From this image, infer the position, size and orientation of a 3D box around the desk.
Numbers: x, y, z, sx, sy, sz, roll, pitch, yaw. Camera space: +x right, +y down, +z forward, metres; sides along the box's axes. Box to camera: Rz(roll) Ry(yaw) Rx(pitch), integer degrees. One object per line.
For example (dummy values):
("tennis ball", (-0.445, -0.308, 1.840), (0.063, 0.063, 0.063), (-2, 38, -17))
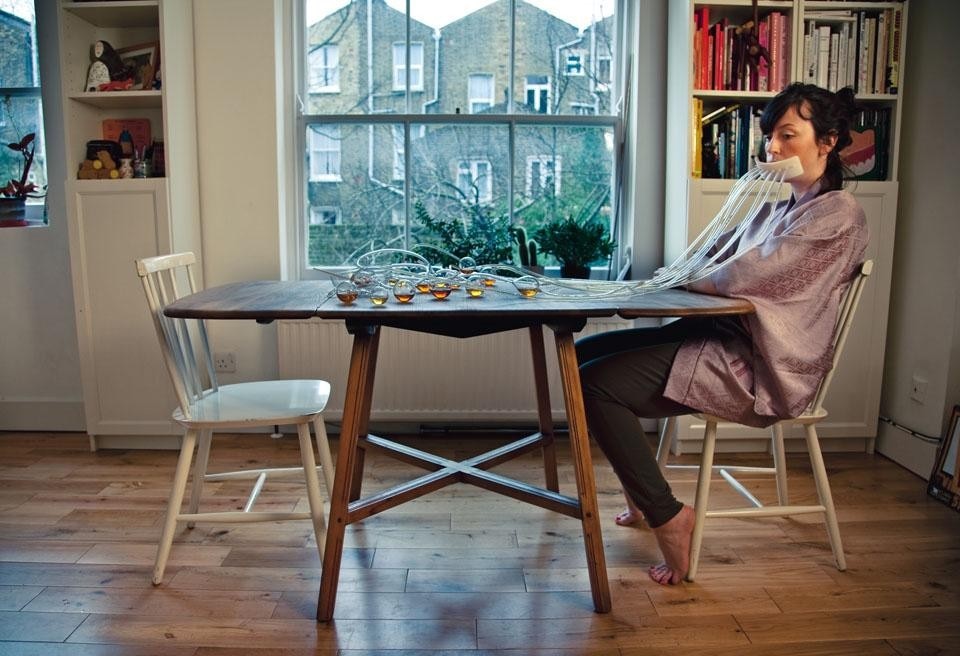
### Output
("desk", (-0.055, 0.311, 3.292), (2.850, 1.137, 1.309), (0, 2, 0))

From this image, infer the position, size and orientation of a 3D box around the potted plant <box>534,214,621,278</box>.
("potted plant", (0.511, -0.433, 4.042), (0.503, 0.350, 0.364), (0, 1, -2))

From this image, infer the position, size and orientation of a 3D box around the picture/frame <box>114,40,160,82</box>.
("picture/frame", (-1.778, -1.398, 3.931), (0.322, 0.256, 0.022), (-1, -13, 4))

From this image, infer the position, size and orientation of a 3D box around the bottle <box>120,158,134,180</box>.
("bottle", (-1.826, -0.836, 3.898), (0.060, 0.096, 0.053), (-7, 17, -17))

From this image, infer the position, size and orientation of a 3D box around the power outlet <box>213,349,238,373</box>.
("power outlet", (-1.400, 0.177, 4.151), (0.162, 0.132, 0.017), (0, 6, -7))

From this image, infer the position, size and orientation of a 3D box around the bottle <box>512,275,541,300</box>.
("bottle", (0.176, -0.155, 2.909), (0.110, 0.064, 0.087), (-3, 10, -18))
